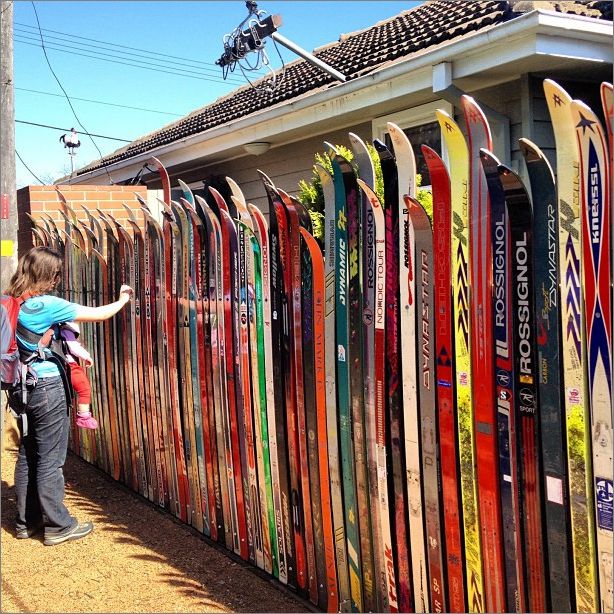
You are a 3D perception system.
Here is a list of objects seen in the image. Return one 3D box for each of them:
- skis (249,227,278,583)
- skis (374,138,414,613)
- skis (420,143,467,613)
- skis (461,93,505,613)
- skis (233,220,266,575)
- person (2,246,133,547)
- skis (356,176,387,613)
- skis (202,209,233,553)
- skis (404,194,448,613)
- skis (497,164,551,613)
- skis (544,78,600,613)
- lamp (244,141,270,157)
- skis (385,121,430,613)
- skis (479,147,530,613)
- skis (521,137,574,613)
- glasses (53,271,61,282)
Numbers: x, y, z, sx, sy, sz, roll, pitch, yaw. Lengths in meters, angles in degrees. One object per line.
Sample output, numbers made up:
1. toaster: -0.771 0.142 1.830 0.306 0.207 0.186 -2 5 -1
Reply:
1. skis: -0.189 0.495 4.072 0.166 1.915 0.116 3 -3 -34
2. skis: 0.369 0.367 3.405 0.177 2.228 0.153 1 -2 -27
3. skis: 0.527 0.308 3.291 0.158 2.137 0.173 0 1 -14
4. skis: 0.651 0.249 3.114 0.234 2.353 0.156 0 0 8
5. skis: -0.255 0.423 4.140 0.163 1.960 0.125 1 -2 -33
6. person: -1.326 0.488 4.468 0.500 1.629 0.358 -3 6 -22
7. skis: 0.280 0.339 3.495 0.111 1.992 0.185 1 -4 -9
8. skis: -0.436 0.301 4.373 0.178 2.128 0.120 2 -3 -44
9. skis: 0.485 0.382 3.288 0.173 2.036 0.134 2 -3 -27
10. skis: 0.774 0.359 3.043 0.177 2.101 0.147 0 2 0
11. skis: 0.920 0.164 2.907 0.088 2.443 0.163 1 3 12
12. lamp: -0.481 -1.726 8.734 0.286 0.116 0.267 -1 8 -4
13. skis: 0.407 0.207 3.399 0.232 2.129 0.188 1 -2 -28
14. skis: 0.718 0.318 3.137 0.190 2.166 0.136 -2 0 -31
15. skis: 0.856 0.269 2.950 0.184 2.289 0.152 0 1 18
16. glasses: -1.302 -0.170 4.480 0.011 0.067 0.015 4 -7 14
